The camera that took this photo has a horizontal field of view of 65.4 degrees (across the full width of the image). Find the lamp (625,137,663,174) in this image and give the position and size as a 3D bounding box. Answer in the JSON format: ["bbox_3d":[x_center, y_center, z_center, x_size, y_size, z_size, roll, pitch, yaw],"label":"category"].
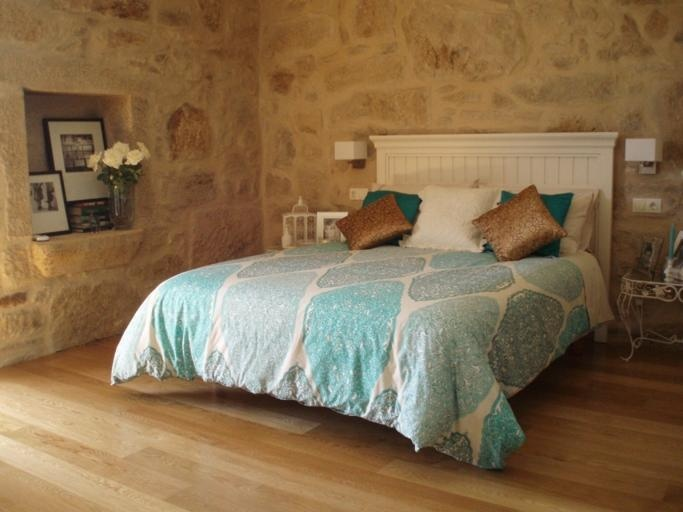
[{"bbox_3d":[2.295,-0.747,4.030,0.249,0.279,0.235,7,14,30],"label":"lamp"}]

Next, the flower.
[{"bbox_3d":[-1.860,-0.735,4.419,0.557,0.406,0.410,5,14,24],"label":"flower"}]

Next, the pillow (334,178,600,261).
[{"bbox_3d":[0.910,-0.289,4.094,1.854,0.467,0.885,5,13,24],"label":"pillow"}]

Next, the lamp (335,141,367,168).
[{"bbox_3d":[0.111,-0.974,5.094,0.260,0.168,0.269,1,0,27],"label":"lamp"}]

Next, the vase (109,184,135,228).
[{"bbox_3d":[-1.850,-0.444,4.498,0.240,0.322,0.243,0,7,5],"label":"vase"}]

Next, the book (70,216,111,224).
[{"bbox_3d":[-2.062,-0.286,4.338,0.307,0.086,0.118,-6,13,-26],"label":"book"}]

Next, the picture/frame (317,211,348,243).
[{"bbox_3d":[-0.085,-0.236,4.595,0.279,0.322,0.023,-1,0,14],"label":"picture/frame"}]
